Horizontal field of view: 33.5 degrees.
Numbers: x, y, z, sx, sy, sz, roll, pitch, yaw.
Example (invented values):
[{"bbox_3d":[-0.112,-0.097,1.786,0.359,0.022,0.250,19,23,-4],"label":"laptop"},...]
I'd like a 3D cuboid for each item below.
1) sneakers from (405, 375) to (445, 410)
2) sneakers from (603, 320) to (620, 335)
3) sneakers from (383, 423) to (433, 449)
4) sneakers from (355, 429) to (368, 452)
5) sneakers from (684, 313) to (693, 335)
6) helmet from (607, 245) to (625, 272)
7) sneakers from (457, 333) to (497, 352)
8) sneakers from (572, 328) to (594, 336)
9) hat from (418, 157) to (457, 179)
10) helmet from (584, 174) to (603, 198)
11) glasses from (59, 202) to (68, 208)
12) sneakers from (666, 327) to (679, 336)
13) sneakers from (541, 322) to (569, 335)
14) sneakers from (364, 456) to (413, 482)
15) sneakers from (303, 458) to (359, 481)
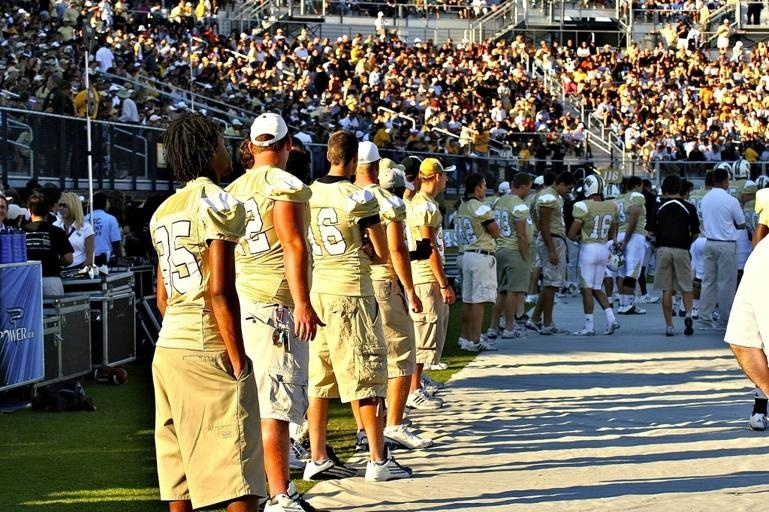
[{"bbox_3d":[0.522,1.974,17.381,0.581,0.258,0.219,-1,1,-5],"label":"sneakers"},{"bbox_3d":[3.875,1.238,21.720,0.210,0.263,0.247,1,12,5],"label":"sneakers"},{"bbox_3d":[0.261,2.246,15.945,0.702,0.289,0.246,6,1,-6],"label":"sneakers"},{"bbox_3d":[-0.282,2.311,15.841,0.146,0.186,0.282,1,2,14],"label":"sneakers"},{"bbox_3d":[5.151,1.174,21.585,0.140,0.350,0.157,-1,6,14],"label":"sneakers"},{"bbox_3d":[4.174,0.044,23.288,0.382,0.478,0.435,3,5,-6],"label":"helmet"},{"bbox_3d":[1.486,1.421,20.465,0.591,0.254,0.235,-1,0,-9],"label":"sneakers"},{"bbox_3d":[3.403,1.308,21.815,0.381,0.231,0.133,2,1,10],"label":"sneakers"},{"bbox_3d":[0.731,-1.160,17.289,0.464,0.249,0.295,-19,12,-12],"label":"hat"},{"bbox_3d":[3.656,-1.173,22.281,0.323,0.405,0.500,2,12,8],"label":"helmet"},{"bbox_3d":[-4.784,-0.718,19.078,0.102,0.033,0.106,4,-6,42],"label":"glasses"},{"bbox_3d":[4.834,1.287,21.564,0.104,0.100,0.243,1,5,18],"label":"sneakers"},{"bbox_3d":[2.903,1.277,21.958,0.505,0.210,0.181,1,0,-6],"label":"sneakers"},{"bbox_3d":[0.022,2.534,15.104,0.619,0.274,0.214,-1,1,-26],"label":"sneakers"},{"bbox_3d":[-0.660,2.537,15.119,0.665,0.260,0.235,1,2,-23],"label":"sneakers"}]
